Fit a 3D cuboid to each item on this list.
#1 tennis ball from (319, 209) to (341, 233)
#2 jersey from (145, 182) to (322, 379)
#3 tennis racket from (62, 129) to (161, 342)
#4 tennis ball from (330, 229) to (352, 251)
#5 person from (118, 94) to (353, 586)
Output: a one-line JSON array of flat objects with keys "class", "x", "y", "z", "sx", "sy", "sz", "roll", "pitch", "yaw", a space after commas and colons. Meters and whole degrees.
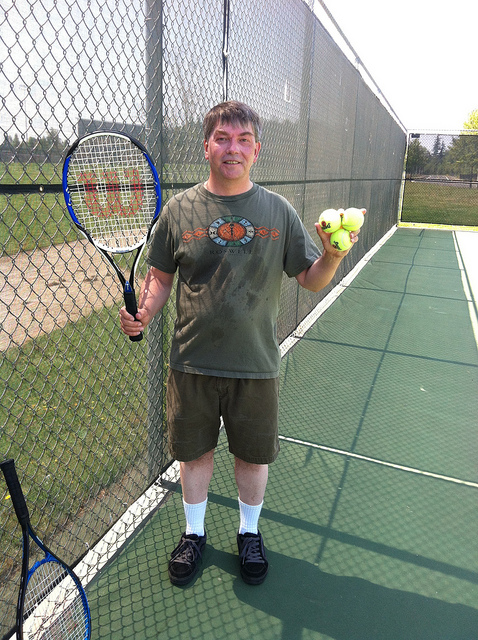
[{"class": "tennis ball", "x": 0.259, "y": -0.280, "z": 1.249, "sx": 0.052, "sy": 0.078, "sz": 0.058, "roll": 7, "pitch": 4, "yaw": -9}, {"class": "jersey", "x": -0.031, "y": -0.127, "z": 1.466, "sx": 0.585, "sy": 0.620, "sz": 0.243, "roll": 3, "pitch": 11, "yaw": 13}, {"class": "tennis racket", "x": -0.411, "y": -0.239, "z": 1.594, "sx": 0.294, "sy": 0.911, "sz": 0.058, "roll": 1, "pitch": 40, "yaw": -5}, {"class": "tennis ball", "x": 0.294, "y": -0.230, "z": 1.265, "sx": 0.049, "sy": 0.063, "sz": 0.053, "roll": -4, "pitch": 8, "yaw": 1}, {"class": "person", "x": -0.037, "y": 0.120, "z": 1.436, "sx": 0.615, "sy": 1.611, "sz": 0.426, "roll": -1, "pitch": 7, "yaw": -13}]
